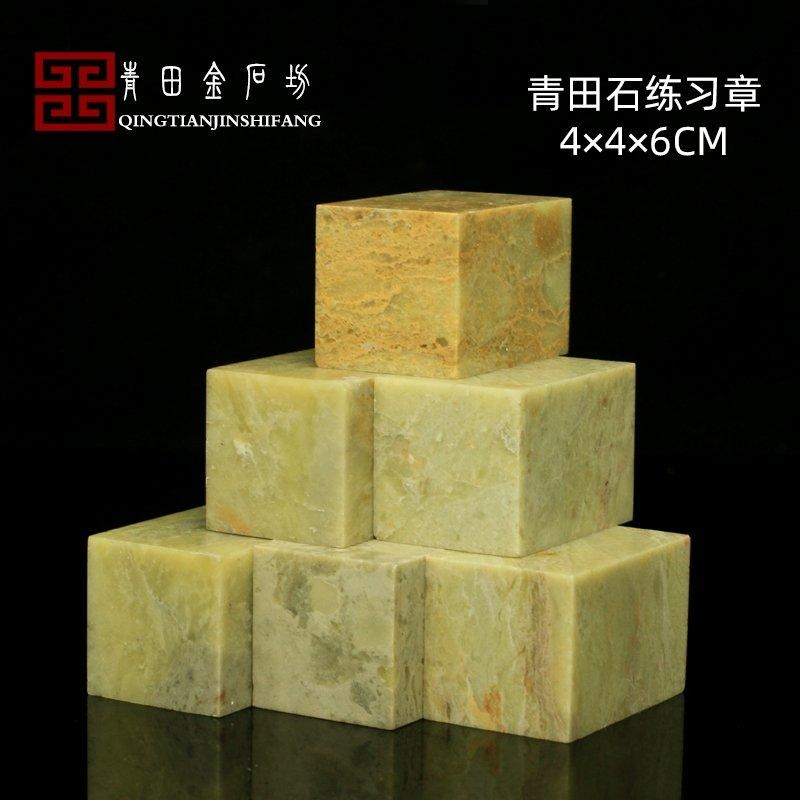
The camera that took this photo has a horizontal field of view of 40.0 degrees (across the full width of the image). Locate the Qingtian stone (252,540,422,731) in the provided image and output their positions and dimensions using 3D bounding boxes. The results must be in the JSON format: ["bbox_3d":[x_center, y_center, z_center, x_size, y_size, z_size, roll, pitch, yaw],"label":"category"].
[{"bbox_3d":[-0.093,0.384,1.769,0.232,0.267,0.082,4,7,31],"label":"Qingtian stone"}]

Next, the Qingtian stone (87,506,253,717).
[{"bbox_3d":[-0.392,0.346,1.869,0.225,0.320,0.279,1,3,-4],"label":"Qingtian stone"}]

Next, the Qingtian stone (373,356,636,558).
[{"bbox_3d":[0.163,0.077,1.899,0.252,0.337,0.425,9,11,40],"label":"Qingtian stone"}]

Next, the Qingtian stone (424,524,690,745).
[{"bbox_3d":[0.257,0.368,1.823,0.238,0.312,0.412,4,8,30],"label":"Qingtian stone"}]

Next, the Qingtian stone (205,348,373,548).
[{"bbox_3d":[-0.159,0.084,1.951,0.265,0.315,0.287,0,-1,31],"label":"Qingtian stone"}]

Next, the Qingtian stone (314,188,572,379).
[{"bbox_3d":[0.108,-0.220,2.023,0.270,0.302,0.385,9,15,40],"label":"Qingtian stone"}]
